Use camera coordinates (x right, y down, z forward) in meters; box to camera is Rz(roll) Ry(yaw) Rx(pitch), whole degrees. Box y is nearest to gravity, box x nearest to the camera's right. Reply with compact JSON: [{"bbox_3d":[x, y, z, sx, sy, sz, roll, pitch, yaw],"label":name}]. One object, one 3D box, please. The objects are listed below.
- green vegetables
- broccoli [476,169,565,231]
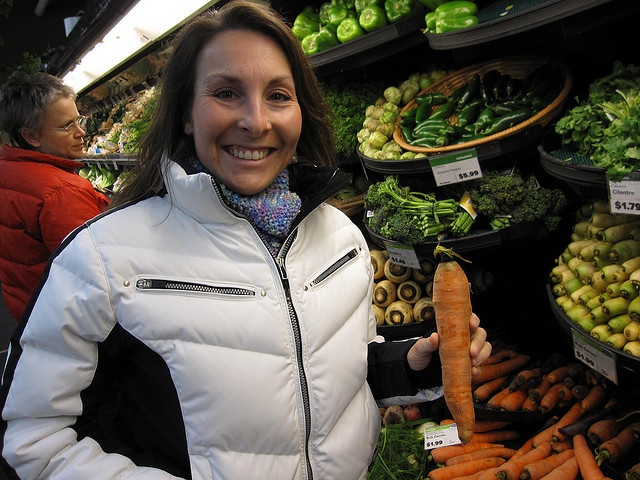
[{"bbox_3d":[0.582,-0.167,2.488,0.462,0.268,0.401,-12,39,18],"label":"green vegetables"},{"bbox_3d":[1.047,-0.217,2.270,0.366,0.215,0.325,6,65,51],"label":"broccoli"}]
